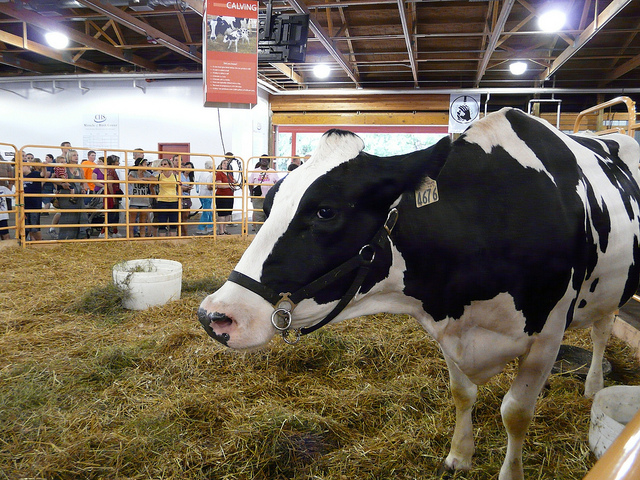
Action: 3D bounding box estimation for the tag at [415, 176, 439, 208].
[{"bbox_3d":[0.483,-0.219,2.166,0.144,0.146,0.012,-8,8,-5],"label":"tag"}]

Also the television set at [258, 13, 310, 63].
[{"bbox_3d":[-0.680,-3.584,8.238,1.030,1.142,0.421,5,-23,2],"label":"television set"}]

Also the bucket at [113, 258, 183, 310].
[{"bbox_3d":[-1.693,0.414,4.783,0.562,0.307,0.574,0,1,0],"label":"bucket"}]
